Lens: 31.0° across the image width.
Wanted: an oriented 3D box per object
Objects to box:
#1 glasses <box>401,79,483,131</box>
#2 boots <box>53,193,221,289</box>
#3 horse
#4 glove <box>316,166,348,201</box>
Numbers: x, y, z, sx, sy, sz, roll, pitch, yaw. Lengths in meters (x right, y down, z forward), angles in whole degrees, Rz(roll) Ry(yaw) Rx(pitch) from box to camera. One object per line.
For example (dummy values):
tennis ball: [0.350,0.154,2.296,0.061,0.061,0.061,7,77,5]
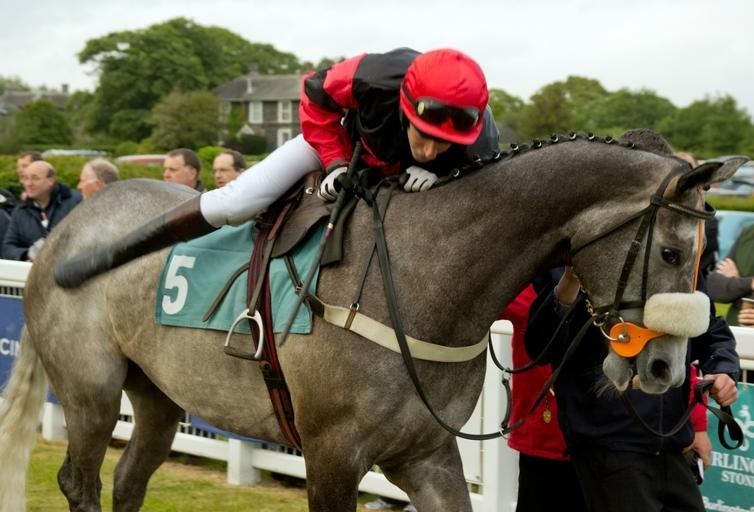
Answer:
glasses: [0.339,-0.732,6.945,0.352,0.173,0.075,4,4,0]
boots: [-1.302,-0.063,7.632,0.918,0.193,0.178,-24,-29,20]
horse: [-0.144,0.463,7.342,3.771,2.326,0.731,6,4,23]
glove: [-0.226,-0.375,7.184,0.067,0.185,0.137,43,-3,0]
